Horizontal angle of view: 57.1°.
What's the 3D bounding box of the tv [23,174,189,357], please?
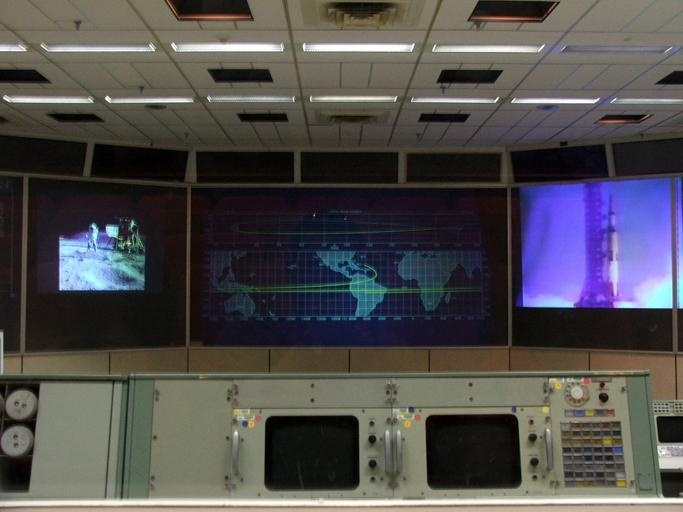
[{"bbox_3d":[-2.373,0.125,6.163,2.019,1.994,0.087,2,-5,-18],"label":"tv"}]
